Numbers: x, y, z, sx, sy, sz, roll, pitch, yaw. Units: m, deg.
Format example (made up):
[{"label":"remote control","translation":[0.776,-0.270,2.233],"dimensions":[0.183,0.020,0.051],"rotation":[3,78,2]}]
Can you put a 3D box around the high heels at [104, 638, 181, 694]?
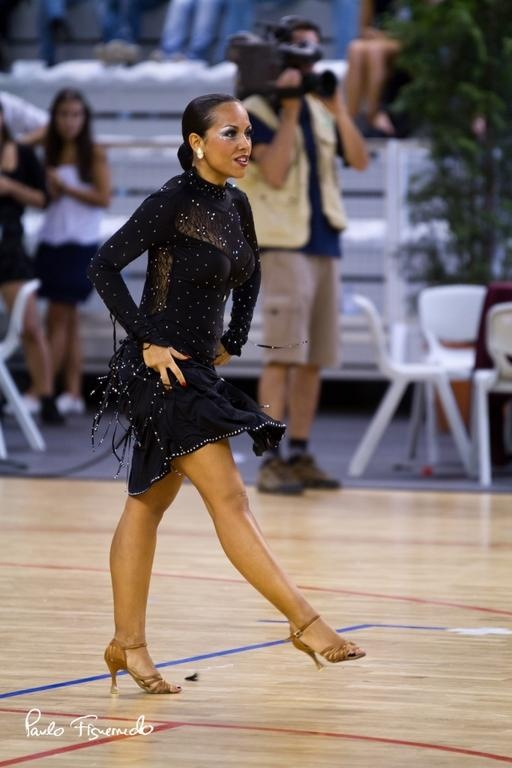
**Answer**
[{"label":"high heels","translation":[-0.208,0.510,2.125],"dimensions":[0.185,0.105,0.062],"rotation":[3,-2,6]}]

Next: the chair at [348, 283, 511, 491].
[{"label":"chair","translation":[0.462,-0.031,3.503],"dimensions":[0.362,0.509,0.820],"rotation":[-2,4,-4]}]

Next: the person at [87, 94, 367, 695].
[{"label":"person","translation":[-0.086,0.003,2.135],"dimensions":[0.421,1.073,0.530],"rotation":[-2,4,-7]}]
